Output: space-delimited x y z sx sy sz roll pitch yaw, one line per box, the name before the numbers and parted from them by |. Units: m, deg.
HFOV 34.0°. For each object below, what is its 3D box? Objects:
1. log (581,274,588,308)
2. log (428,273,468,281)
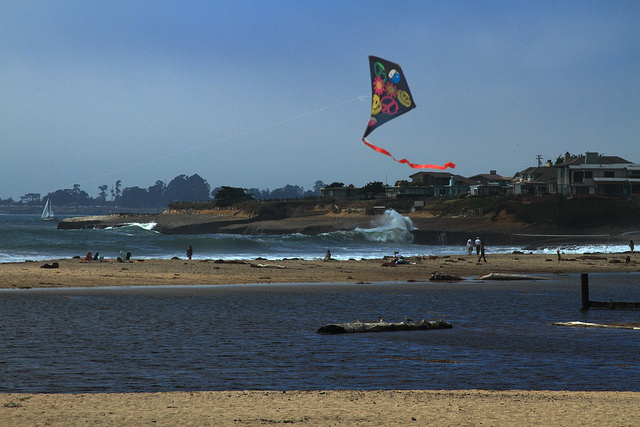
log | 11.633 3.422 46.295 0.259 1.479 0.507 -1 -3 10
log | 6.816 3.462 56.983 1.860 0.365 0.973 -1 -2 6
